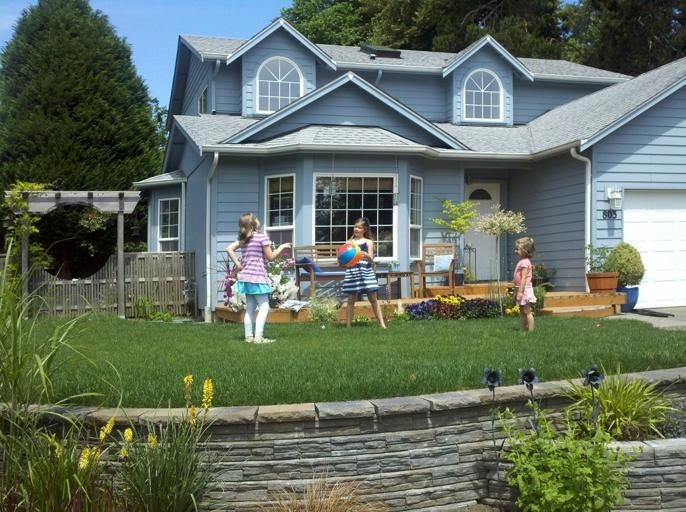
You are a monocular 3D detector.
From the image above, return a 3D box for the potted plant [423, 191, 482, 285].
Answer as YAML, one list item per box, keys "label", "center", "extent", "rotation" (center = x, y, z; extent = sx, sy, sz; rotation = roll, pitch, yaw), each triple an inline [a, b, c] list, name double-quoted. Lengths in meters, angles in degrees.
- label: "potted plant"
  center: [2.612, -0.455, 17.984]
  extent: [1.451, 1.850, 1.252]
  rotation: [-3, -8, 29]

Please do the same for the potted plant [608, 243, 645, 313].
- label: "potted plant"
  center: [5.902, 0.431, 16.137]
  extent: [0.684, 1.437, 0.530]
  rotation: [2, -4, -17]

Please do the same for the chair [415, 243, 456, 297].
- label: "chair"
  center: [2.043, 0.321, 16.659]
  extent: [0.834, 1.242, 0.905]
  rotation: [-1, -4, 23]

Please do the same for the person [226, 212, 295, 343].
- label: "person"
  center: [-1.325, 0.330, 11.778]
  extent: [0.789, 1.969, 0.479]
  rotation: [-1, -4, 14]

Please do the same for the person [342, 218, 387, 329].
- label: "person"
  center: [0.375, 0.307, 13.343]
  extent: [0.719, 1.841, 1.128]
  rotation: [0, -4, 2]

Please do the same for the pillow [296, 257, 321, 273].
- label: "pillow"
  center: [-0.690, 0.195, 15.548]
  extent: [0.483, 0.300, 0.634]
  rotation: [1, -5, -3]

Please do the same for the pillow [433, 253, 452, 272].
- label: "pillow"
  center: [2.152, 0.163, 16.448]
  extent: [0.404, 0.327, 0.238]
  rotation: [0, -4, 1]

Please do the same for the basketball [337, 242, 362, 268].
- label: "basketball"
  center: [0.112, 0.020, 12.942]
  extent: [0.370, 0.396, 0.387]
  rotation: [-11, 38, -2]

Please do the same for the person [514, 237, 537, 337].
- label: "person"
  center: [2.974, 0.458, 12.647]
  extent: [0.314, 1.526, 0.625]
  rotation: [0, -4, 12]
